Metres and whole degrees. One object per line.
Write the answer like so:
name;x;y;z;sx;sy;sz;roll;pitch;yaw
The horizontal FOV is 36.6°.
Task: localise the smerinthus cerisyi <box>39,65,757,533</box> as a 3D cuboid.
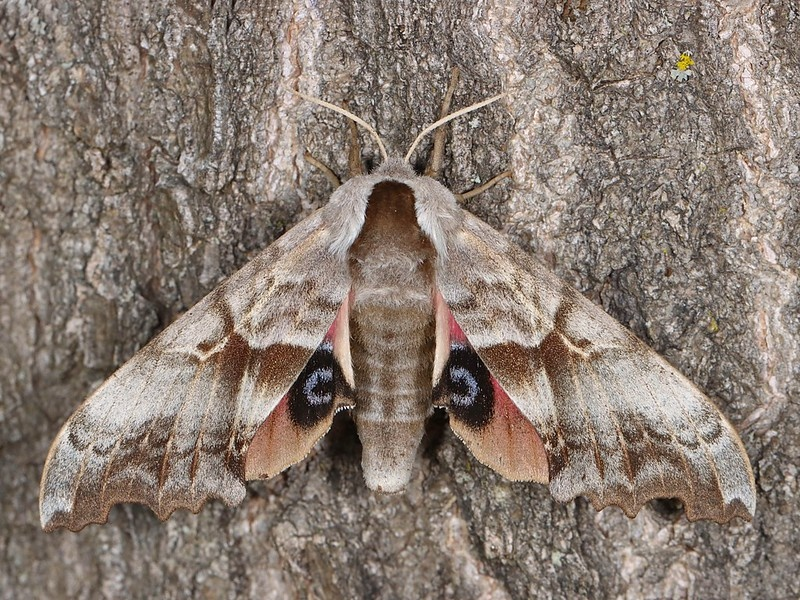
smerinthus cerisyi;0.108;-0.040;5.644;2.651;1.885;0.747;-1;6;5
